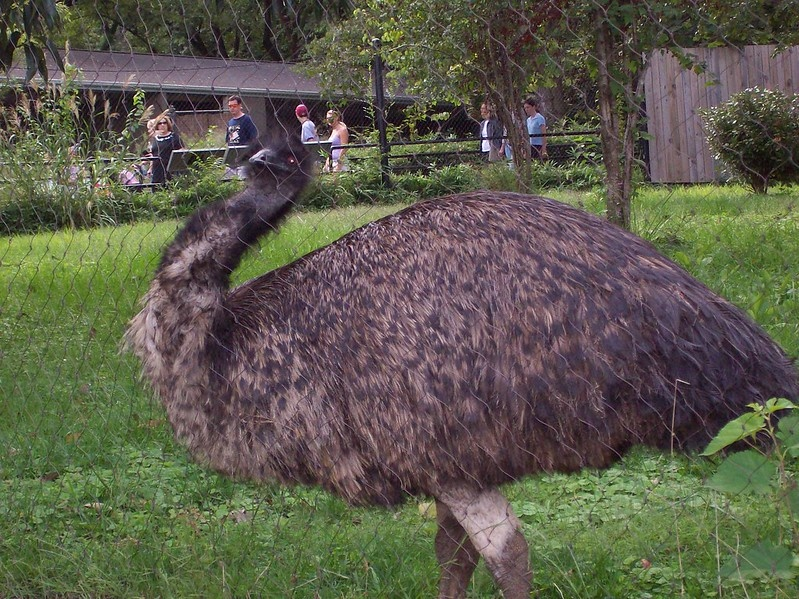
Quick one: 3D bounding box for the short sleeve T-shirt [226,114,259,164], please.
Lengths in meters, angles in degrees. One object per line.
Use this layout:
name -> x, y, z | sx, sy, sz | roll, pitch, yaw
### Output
short sleeve T-shirt -> -1.039, -1.058, 5.730 | 0.201, 0.361, 0.122 | -1, 41, -13

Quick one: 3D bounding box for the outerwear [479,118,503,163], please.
outerwear -> 0.879, -1.610, 8.823 | 0.193, 0.538, 0.155 | 16, 39, 26
